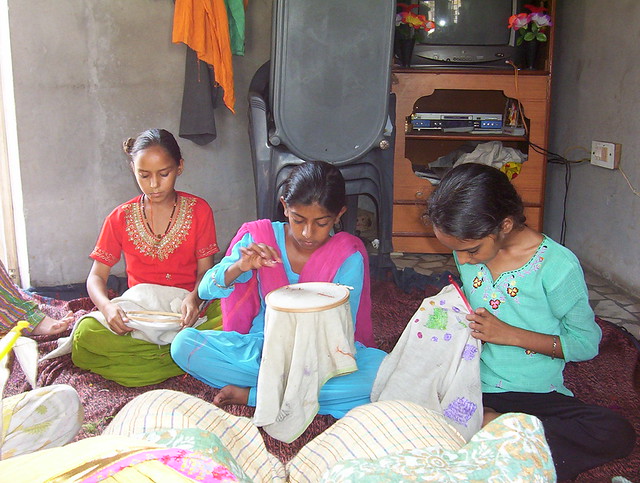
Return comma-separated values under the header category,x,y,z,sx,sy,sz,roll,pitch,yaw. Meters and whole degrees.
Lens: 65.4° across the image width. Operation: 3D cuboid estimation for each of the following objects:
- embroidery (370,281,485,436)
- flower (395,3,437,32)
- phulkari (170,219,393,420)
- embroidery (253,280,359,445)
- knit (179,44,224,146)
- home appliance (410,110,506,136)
category,x,y,z,sx,sy,sz,roll,pitch,yaw
embroidery,0.458,0.382,1.914,0.308,0.500,0.423,2,3,24
flower,0.707,-1.644,3.664,0.369,0.172,0.196,-8,19,-37
phulkari,-0.106,0.299,2.164,0.912,0.709,0.493,5,12,11
embroidery,-0.058,0.456,1.880,0.382,0.557,0.260,0,15,-10
knit,-0.775,-0.948,3.201,0.288,0.556,0.150,2,17,-1
home appliance,1.043,-0.878,3.786,0.670,0.177,0.442,-1,11,4
